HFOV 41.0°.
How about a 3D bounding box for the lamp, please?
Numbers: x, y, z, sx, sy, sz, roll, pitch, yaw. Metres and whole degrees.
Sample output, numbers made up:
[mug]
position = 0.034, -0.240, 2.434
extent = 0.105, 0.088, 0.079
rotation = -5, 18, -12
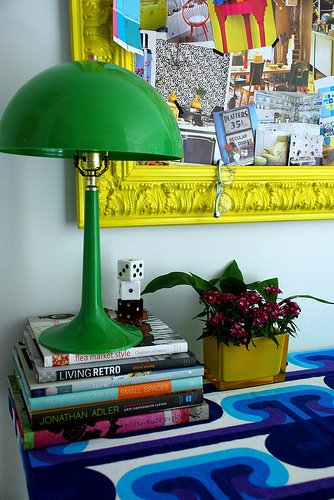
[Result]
[lamp]
position = -0.118, -0.058, 0.660
extent = 0.267, 0.409, 0.316
rotation = 1, 7, -9

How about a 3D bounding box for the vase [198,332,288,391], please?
[vase]
position = 0.146, 0.208, 0.864
extent = 0.155, 0.090, 0.092
rotation = 0, -2, -22

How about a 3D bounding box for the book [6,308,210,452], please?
[book]
position = -0.091, 0.163, 0.676
extent = 0.205, 0.087, 0.190
rotation = -1, 1, -28

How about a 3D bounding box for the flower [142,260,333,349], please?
[flower]
position = 0.140, 0.104, 0.889
extent = 0.252, 0.092, 0.213
rotation = 0, -4, -8
